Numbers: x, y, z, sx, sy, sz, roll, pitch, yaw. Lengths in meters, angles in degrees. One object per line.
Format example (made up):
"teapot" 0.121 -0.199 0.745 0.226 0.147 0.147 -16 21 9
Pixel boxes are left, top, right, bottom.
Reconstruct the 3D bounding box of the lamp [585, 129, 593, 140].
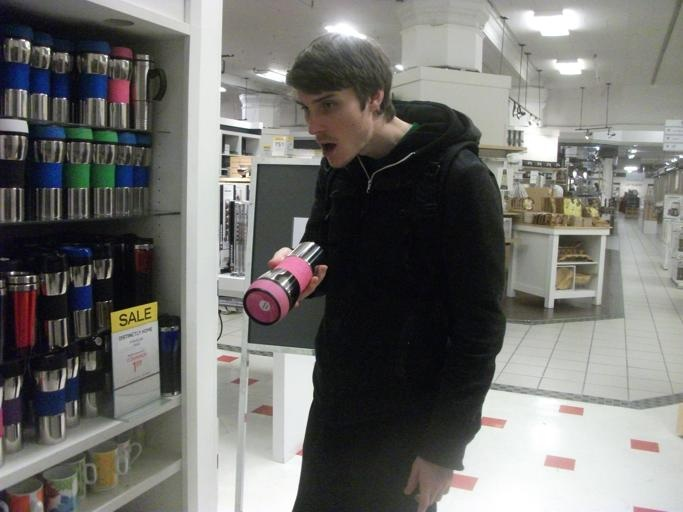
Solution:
"lamp" 7.286 -3.665 15.733 0.180 0.227 0.361 -20 17 31

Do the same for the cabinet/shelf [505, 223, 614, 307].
"cabinet/shelf" 3.095 0.084 7.740 1.071 1.034 1.076 0 6 -26

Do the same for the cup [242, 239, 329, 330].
"cup" -0.159 0.071 1.525 0.129 0.198 0.293 4 9 19

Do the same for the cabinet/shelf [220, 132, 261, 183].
"cabinet/shelf" -2.300 -2.252 11.874 1.009 1.002 0.329 -3 8 -37

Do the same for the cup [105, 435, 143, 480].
"cup" -0.848 0.801 2.125 0.087 0.138 0.145 0 -5 36

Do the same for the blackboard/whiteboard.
"blackboard/whiteboard" -0.222 0.013 2.749 0.511 1.013 0.037 4 14 -8

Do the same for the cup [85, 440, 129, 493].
"cup" -0.890 0.828 2.058 0.161 0.146 0.101 0 -2 -5
